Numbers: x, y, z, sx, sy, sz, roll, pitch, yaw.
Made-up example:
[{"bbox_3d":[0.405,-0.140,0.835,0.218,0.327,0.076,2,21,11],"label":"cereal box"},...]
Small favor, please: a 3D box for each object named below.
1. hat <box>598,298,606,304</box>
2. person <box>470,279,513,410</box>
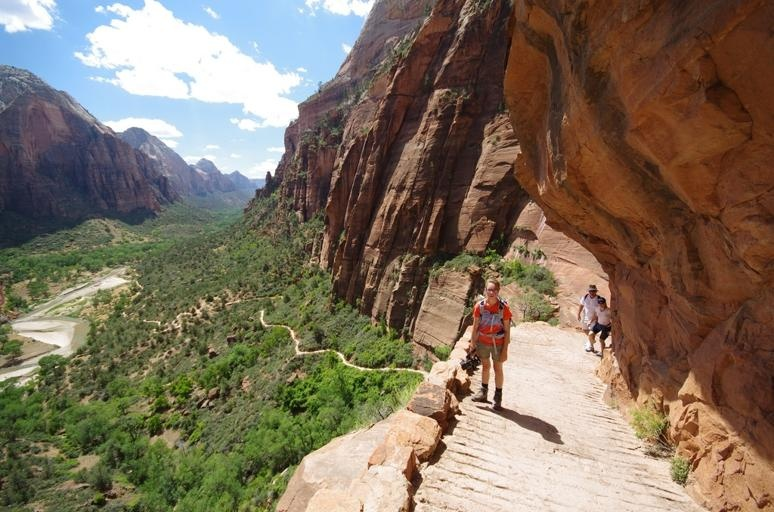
[{"bbox_3d":[7.697,1.579,14.517,0.214,0.202,0.309,11,5,29],"label":"hat"},{"bbox_3d":[2.867,2.431,11.292,1.195,2.797,0.714,7,5,-15],"label":"person"}]
